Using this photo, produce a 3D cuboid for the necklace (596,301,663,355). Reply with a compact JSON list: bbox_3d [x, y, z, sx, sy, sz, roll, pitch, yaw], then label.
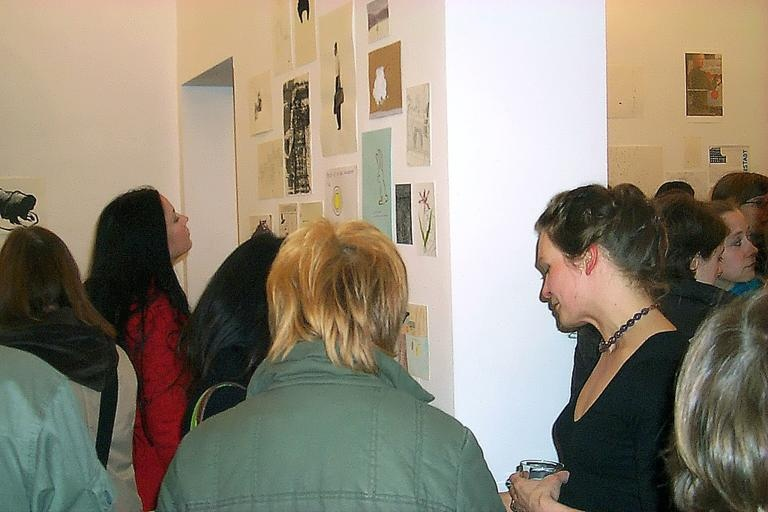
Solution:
[{"bbox_3d":[0.942,0.283,2.649,0.046,0.108,0.322,-4,-31,-38],"label":"necklace"}]
